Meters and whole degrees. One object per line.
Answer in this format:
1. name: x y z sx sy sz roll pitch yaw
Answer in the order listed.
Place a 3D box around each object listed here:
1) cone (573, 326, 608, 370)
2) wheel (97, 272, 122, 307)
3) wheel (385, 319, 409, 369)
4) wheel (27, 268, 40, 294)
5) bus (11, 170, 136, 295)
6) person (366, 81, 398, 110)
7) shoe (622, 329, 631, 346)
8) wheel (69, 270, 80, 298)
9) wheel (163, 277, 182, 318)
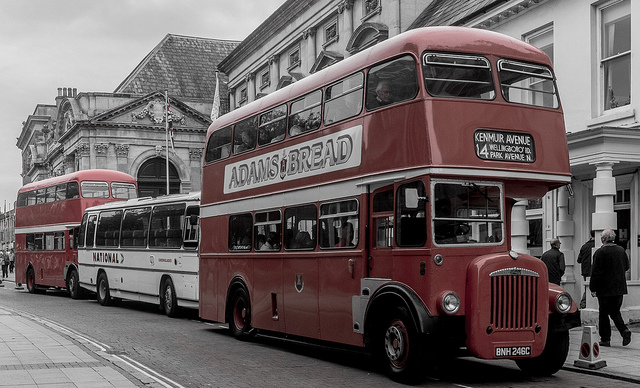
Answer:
1. cone: 5.769 3.332 12.072 0.566 0.950 0.584 -1 -1 -6
2. wheel: -9.511 4.281 25.263 0.589 1.713 1.667 6 -4 -32
3. wheel: 1.547 2.992 11.019 0.123 1.207 1.024 2 -3 -25
4. wheel: -16.917 5.123 33.011 0.482 1.391 1.364 -3 -9 -29
5. bus: -12.680 2.100 29.141 2.588 4.983 7.202 3 -4 -41
6. person: 1.351 -2.185 12.011 0.831 0.534 0.455 -16 23 -34
7. shoe: 7.418 3.505 13.552 0.165 0.497 0.430 -6 3 24
8. wheel: -12.612 4.640 28.803 0.469 1.490 1.453 7 -5 -28
9. wheel: -5.548 3.874 21.094 0.546 1.483 1.453 4 -9 -24
